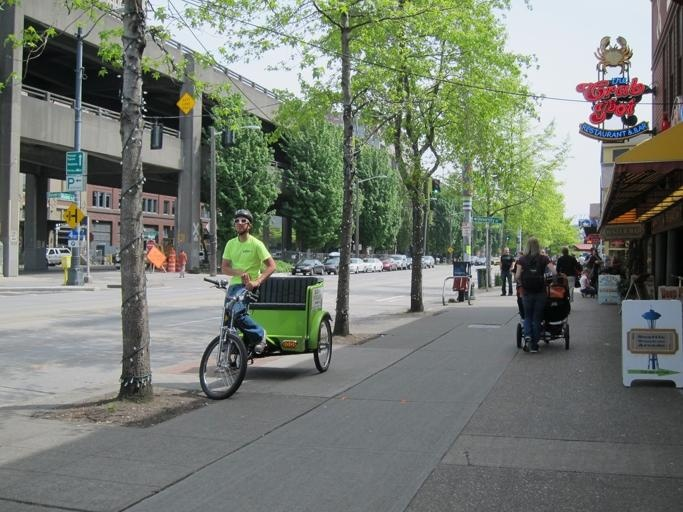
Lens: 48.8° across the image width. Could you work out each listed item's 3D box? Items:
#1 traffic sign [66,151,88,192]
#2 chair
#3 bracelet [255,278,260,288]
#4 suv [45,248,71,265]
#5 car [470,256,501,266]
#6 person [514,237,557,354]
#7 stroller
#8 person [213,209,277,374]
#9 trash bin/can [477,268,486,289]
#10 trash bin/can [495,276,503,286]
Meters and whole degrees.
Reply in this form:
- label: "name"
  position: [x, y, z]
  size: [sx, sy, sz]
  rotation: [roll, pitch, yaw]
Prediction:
- label: "traffic sign"
  position: [-10.828, -3.460, 30.712]
  size: [0.696, 1.583, 0.961]
  rotation: [0, -2, -26]
- label: "chair"
  position: [-0.835, 0.778, 11.719]
  size: [1.178, 1.067, 0.788]
  rotation: [0, -7, 12]
- label: "bracelet"
  position: [-1.163, 0.372, 10.246]
  size: [0.072, 0.118, 0.208]
  rotation: [0, -2, -7]
- label: "suv"
  position: [-21.435, 0.073, 56.674]
  size: [2.394, 1.225, 1.410]
  rotation: [3, -3, -25]
- label: "car"
  position: [14.732, 0.529, 78.192]
  size: [2.411, 0.801, 1.460]
  rotation: [5, -5, -43]
- label: "person"
  position: [3.527, 0.697, 13.930]
  size: [0.641, 1.933, 0.914]
  rotation: [0, 0, 20]
- label: "stroller"
  position: [3.957, 1.048, 14.251]
  size: [0.833, 1.492, 1.382]
  rotation: [1, 4, 15]
- label: "person"
  position: [-1.325, 0.445, 10.547]
  size: [0.637, 2.309, 0.620]
  rotation: [0, 3, 9]
- label: "trash bin/can"
  position: [7.005, 1.152, 37.832]
  size: [0.394, 0.948, 0.947]
  rotation: [-1, -2, 5]
- label: "trash bin/can"
  position: [7.897, 1.265, 38.254]
  size: [0.427, 0.534, 0.450]
  rotation: [-1, 19, 5]
